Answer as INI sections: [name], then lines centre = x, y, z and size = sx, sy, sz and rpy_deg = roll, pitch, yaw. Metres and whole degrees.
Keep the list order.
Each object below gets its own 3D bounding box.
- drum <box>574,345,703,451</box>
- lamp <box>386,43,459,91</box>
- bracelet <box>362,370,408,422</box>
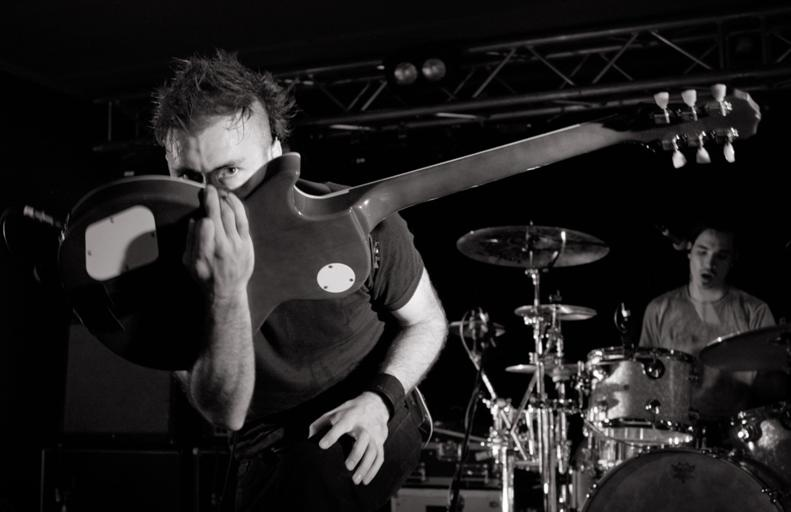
[drum]
centre = 1.549, 0.872, 5.933
size = 0.698, 0.486, 0.682
rpy_deg = 2, -7, 0
[lamp]
centre = 0.192, -1.388, 6.807
size = 0.577, 0.243, 0.261
rpy_deg = -10, -43, 9
[bracelet]
centre = -0.040, 0.601, 3.996
size = 0.189, 0.209, 0.063
rpy_deg = 4, -7, -9
